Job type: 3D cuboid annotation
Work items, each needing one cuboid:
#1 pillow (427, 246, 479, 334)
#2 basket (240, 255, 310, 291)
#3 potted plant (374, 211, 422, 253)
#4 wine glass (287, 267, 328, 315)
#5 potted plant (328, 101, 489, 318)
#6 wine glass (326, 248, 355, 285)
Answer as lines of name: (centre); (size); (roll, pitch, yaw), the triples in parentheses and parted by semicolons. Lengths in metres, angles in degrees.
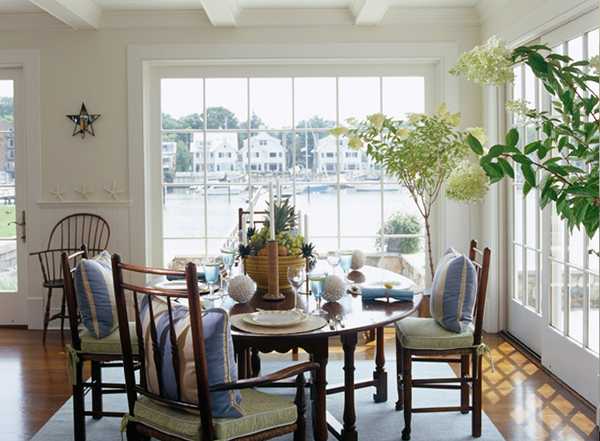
pillow: (0.952, 0.424, 3.356); (0.208, 0.511, 0.570); (6, 2, -2)
basket: (-0.152, 0.300, 3.477); (0.393, 0.213, 0.406); (-6, 14, 34)
potted plant: (0.953, 0.091, 5.110); (0.409, 0.451, 0.383); (3, 4, 10)
wine glass: (0.041, 0.394, 2.951); (0.232, 0.246, 0.101); (3, 1, 20)
potted plant: (0.961, -0.228, 3.980); (0.767, 1.070, 0.924); (1, -18, -11)
wine glass: (0.261, 0.285, 3.448); (0.171, 0.317, 0.191); (0, -4, 2)
